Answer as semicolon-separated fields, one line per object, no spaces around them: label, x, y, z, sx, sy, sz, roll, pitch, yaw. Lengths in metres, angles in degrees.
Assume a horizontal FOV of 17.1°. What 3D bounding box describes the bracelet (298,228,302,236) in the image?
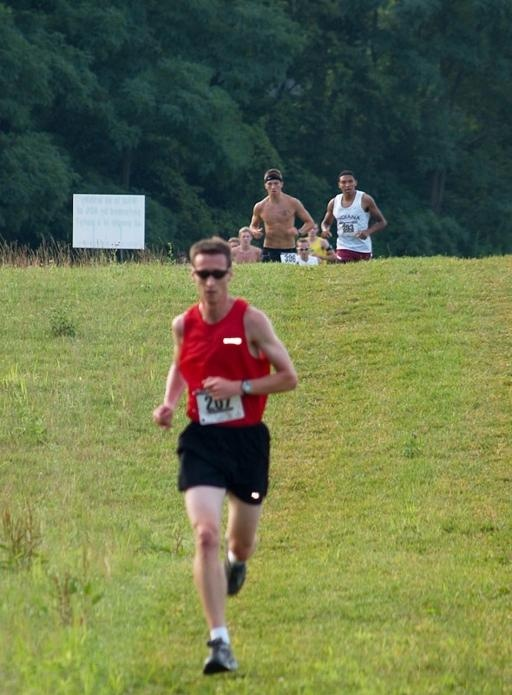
bracelet;0.689;-1.829;27.099;0.047;0.091;0.066;-5;-10;-13

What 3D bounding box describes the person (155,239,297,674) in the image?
person;-0.333;1.068;17.065;1.063;4.272;0.784;1;4;-5
